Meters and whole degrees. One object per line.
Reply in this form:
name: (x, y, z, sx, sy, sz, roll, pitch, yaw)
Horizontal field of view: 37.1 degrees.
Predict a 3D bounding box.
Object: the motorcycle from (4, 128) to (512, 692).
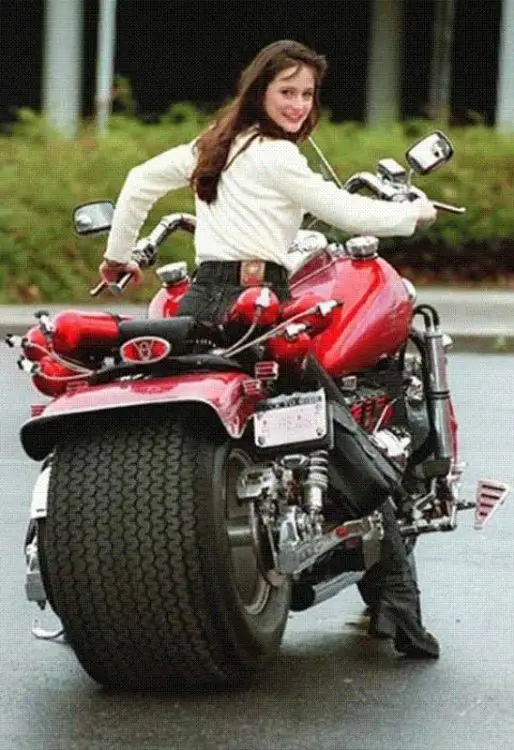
motorcycle: (-0.099, 0.141, 3.368, 1.399, 1.588, 2.708, -1, 2, 27)
